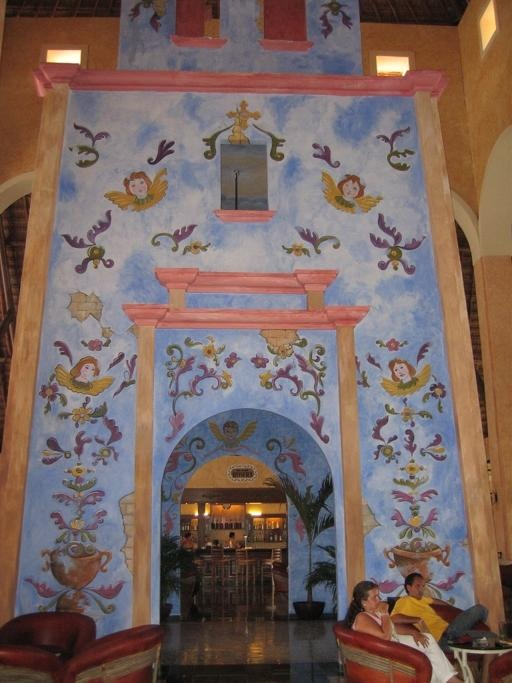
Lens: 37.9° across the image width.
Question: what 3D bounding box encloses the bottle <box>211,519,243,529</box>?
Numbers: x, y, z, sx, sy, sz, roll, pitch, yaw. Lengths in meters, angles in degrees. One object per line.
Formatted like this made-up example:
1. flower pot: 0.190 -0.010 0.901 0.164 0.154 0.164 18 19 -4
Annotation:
1. bottle: -0.513 3.317 13.594 0.566 0.179 0.093 0 -13 -3

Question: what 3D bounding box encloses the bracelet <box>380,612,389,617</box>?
1. bracelet: 0.889 1.870 5.150 0.038 0.032 0.036 -1 -16 10

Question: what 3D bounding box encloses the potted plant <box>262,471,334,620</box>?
1. potted plant: 0.610 2.454 9.161 0.687 1.706 0.963 -1 -13 4

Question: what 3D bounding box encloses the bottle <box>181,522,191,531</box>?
1. bottle: -1.257 3.332 13.579 0.143 0.126 0.063 -3 -7 13
